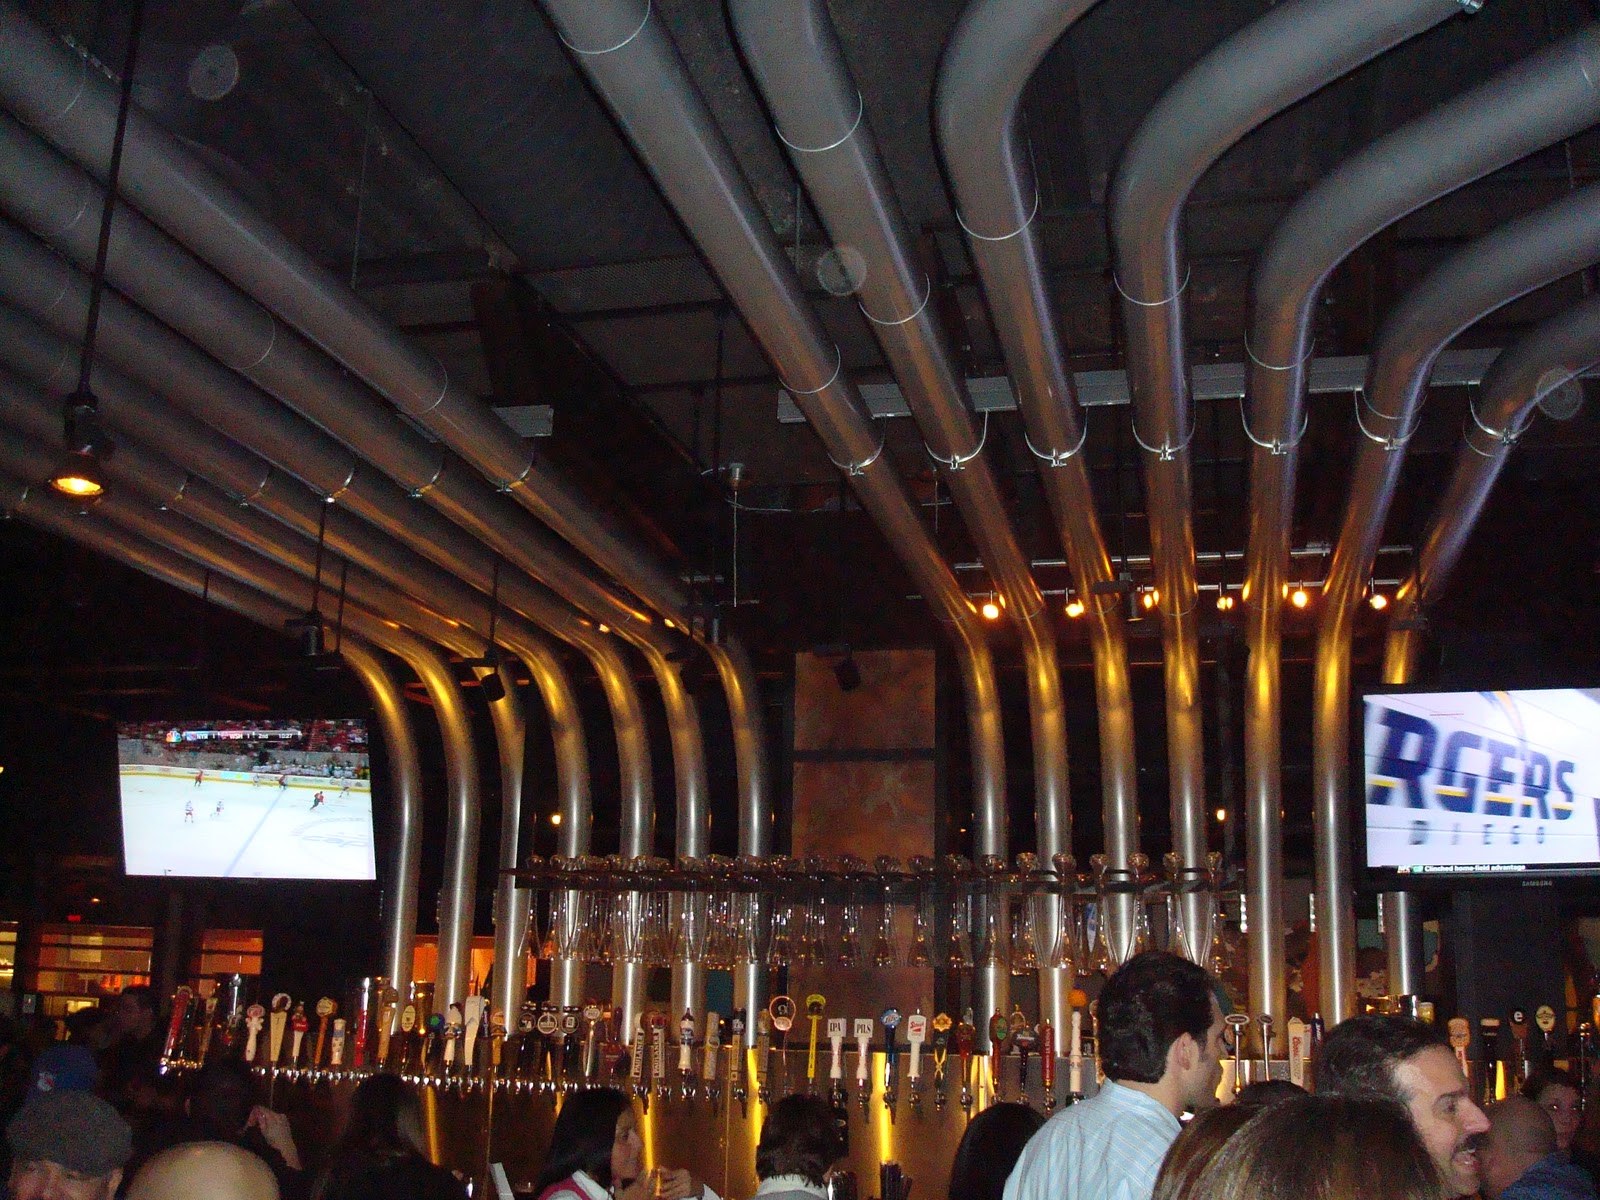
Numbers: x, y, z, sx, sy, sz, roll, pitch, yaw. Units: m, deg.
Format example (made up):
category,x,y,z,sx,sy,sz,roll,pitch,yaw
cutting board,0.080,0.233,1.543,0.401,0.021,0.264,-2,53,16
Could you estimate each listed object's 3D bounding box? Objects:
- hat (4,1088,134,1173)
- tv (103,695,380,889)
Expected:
category,x,y,z,sx,sy,sz,roll,pitch,yaw
hat,-1.862,1.356,3.471,0.286,0.192,0.200,8,-18,-19
tv,-3.879,1.370,9.628,1.558,0.980,0.031,0,0,7
